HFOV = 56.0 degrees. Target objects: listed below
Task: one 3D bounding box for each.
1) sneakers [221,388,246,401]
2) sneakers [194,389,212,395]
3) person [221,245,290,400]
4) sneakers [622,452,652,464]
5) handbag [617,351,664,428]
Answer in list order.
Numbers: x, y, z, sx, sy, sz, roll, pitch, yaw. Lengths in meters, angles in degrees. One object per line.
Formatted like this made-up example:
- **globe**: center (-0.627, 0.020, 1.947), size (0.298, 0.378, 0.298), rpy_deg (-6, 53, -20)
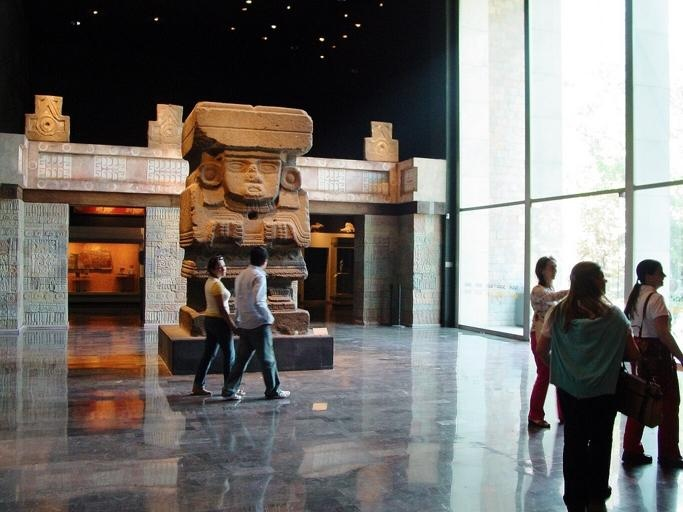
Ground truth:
- **sneakers**: center (-1.430, 1.848, 8.549), size (0.330, 0.145, 0.123), rpy_deg (1, 4, -21)
- **sneakers**: center (-1.882, 1.858, 8.729), size (0.240, 0.107, 0.081), rpy_deg (1, 0, -11)
- **person**: center (-1.147, 1.056, 8.447), size (0.825, 1.767, 0.354), rpy_deg (0, 3, -11)
- **sneakers**: center (3.121, 2.121, 6.722), size (0.331, 0.148, 0.114), rpy_deg (0, 0, -10)
- **handbag**: center (2.662, 1.258, 5.691), size (0.193, 0.440, 0.503), rpy_deg (4, 4, -9)
